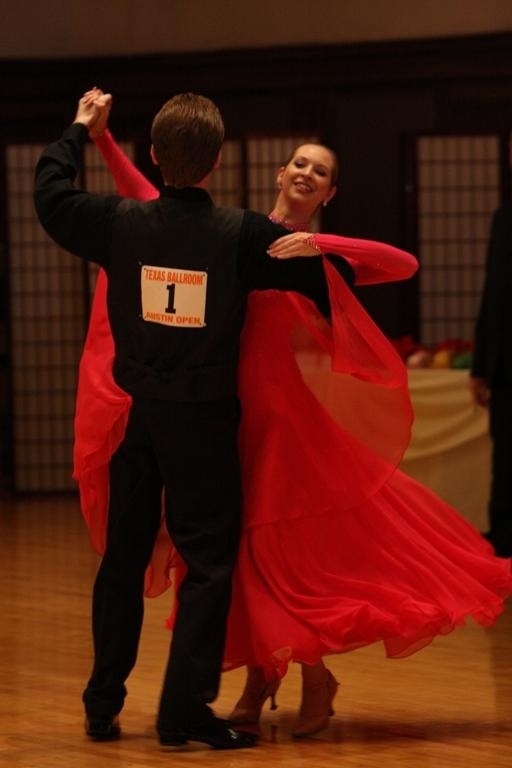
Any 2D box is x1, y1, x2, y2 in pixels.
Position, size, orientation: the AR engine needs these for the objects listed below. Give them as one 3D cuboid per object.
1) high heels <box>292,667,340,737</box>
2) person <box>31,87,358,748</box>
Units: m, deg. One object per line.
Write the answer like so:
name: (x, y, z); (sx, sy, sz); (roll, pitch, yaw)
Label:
high heels: (0.120, 0.615, 1.681); (0.057, 0.159, 0.076); (-7, -39, 39)
person: (-0.129, 0.055, 1.659); (0.637, 1.225, 0.430); (3, 1, 7)
